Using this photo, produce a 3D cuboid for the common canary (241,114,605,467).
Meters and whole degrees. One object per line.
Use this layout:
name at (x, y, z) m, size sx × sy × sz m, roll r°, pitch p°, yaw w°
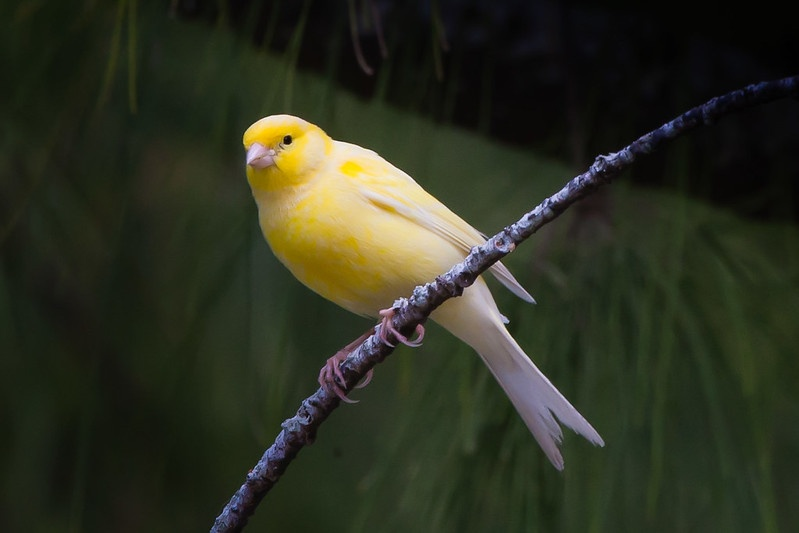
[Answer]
common canary at (0.054, 0.043, 2.381) m, size 1.183 × 0.525 × 0.396 m, roll 26°, pitch -35°, yaw -28°
